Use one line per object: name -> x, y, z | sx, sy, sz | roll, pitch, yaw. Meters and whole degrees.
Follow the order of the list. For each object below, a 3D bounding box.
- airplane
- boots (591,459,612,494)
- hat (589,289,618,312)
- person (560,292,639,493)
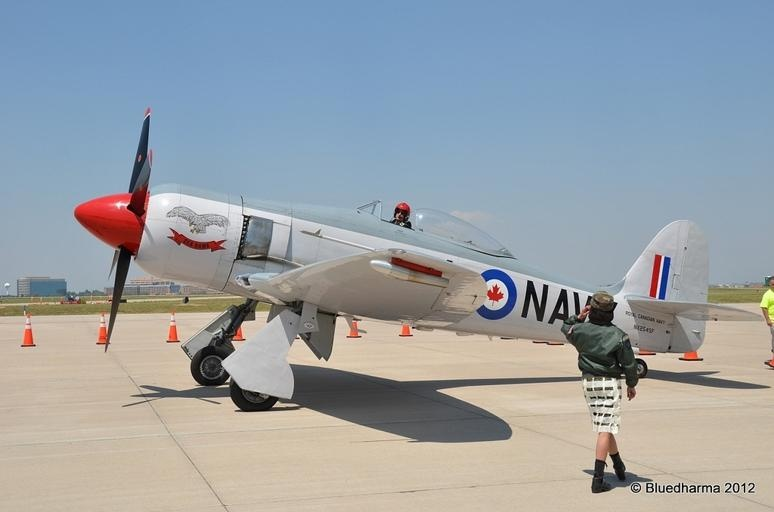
airplane -> 0.893, 0.311, 10.422 | 8.739, 2.052, 7.599 | 4, -3, -15
boots -> 2.286, 2.388, 7.132 | 0.257, 0.269, 0.456 | 0, 0, 23
hat -> 2.426, 0.497, 7.438 | 0.279, 0.086, 0.287 | 9, 9, 9
person -> 2.333, 1.464, 7.324 | 0.524, 2.118, 0.605 | 0, 5, -28
